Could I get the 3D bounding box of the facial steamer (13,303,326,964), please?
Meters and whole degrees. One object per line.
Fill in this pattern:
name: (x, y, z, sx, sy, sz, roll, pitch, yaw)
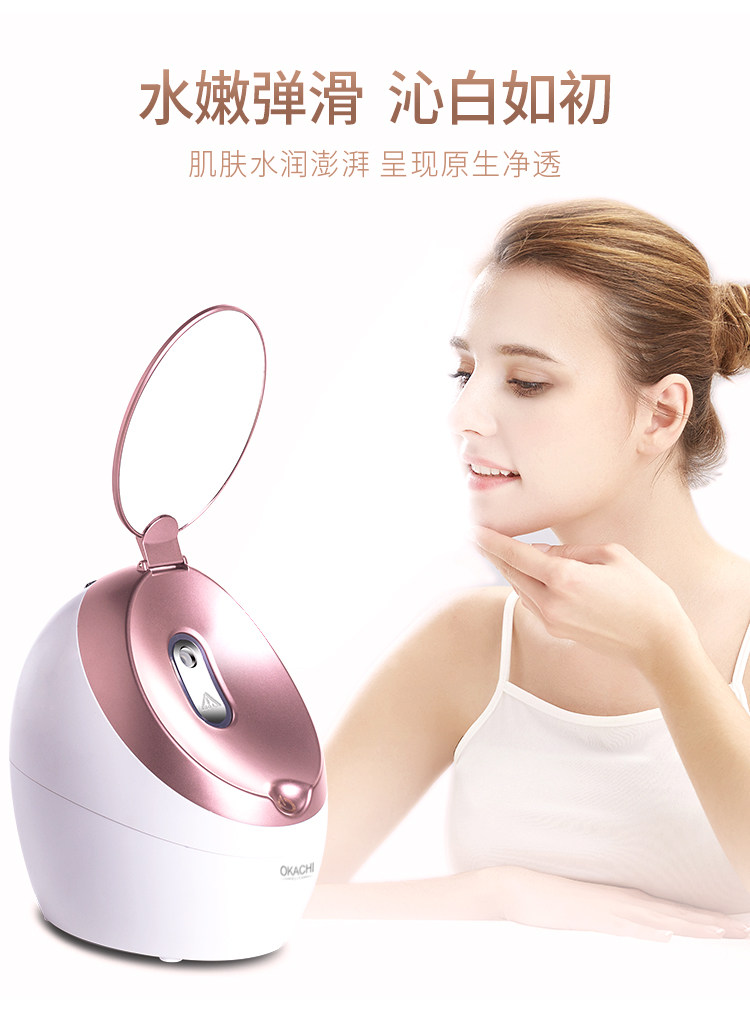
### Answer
facial steamer: (-0.157, 0.082, 0.729, 0.238, 0.492, 0.165, -1, -2, -6)
